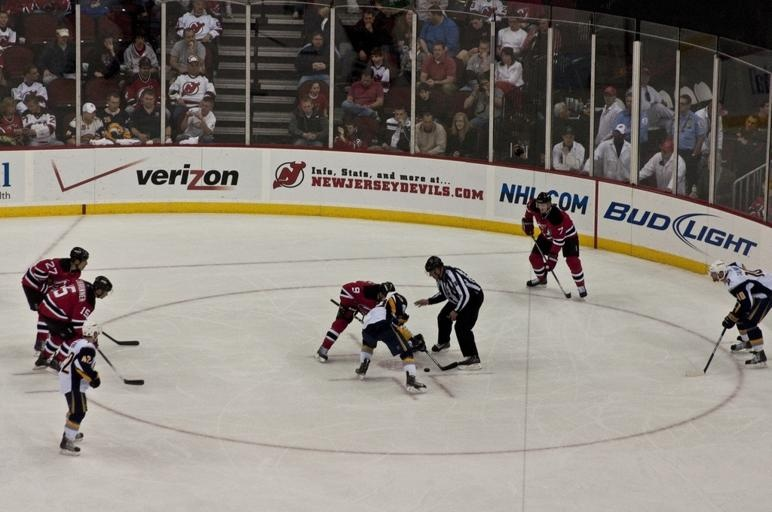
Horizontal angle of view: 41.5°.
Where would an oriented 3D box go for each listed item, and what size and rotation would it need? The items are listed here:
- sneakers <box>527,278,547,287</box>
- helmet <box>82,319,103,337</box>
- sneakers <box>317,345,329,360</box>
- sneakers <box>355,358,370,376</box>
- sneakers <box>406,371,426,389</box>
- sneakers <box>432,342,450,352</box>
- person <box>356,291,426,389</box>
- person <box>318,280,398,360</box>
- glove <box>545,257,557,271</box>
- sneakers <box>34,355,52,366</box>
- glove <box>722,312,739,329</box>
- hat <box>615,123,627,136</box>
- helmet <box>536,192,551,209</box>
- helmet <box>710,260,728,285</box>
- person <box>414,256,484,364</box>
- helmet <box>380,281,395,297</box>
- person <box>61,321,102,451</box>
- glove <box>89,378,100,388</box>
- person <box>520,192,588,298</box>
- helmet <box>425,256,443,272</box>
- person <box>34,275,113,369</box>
[{"bbox_3d":[2.473,0.426,16.858,0.357,0.134,0.123,4,10,-7],"label":"sneakers"},{"bbox_3d":[-3.348,0.834,11.684,0.166,0.193,0.211,12,7,12],"label":"helmet"},{"bbox_3d":[-0.863,1.328,13.844,0.123,0.195,0.211,8,14,16],"label":"sneakers"},{"bbox_3d":[-0.330,1.454,13.408,0.143,0.252,0.270,20,9,-10],"label":"sneakers"},{"bbox_3d":[0.424,1.616,13.093,0.319,0.276,0.150,-1,-1,5],"label":"sneakers"},{"bbox_3d":[0.748,1.268,14.174,0.275,0.103,0.094,-5,16,-26],"label":"sneakers"},{"bbox_3d":[0.082,1.071,13.157,1.007,1.254,0.405,9,15,22],"label":"person"},{"bbox_3d":[-0.387,0.791,13.685,0.805,0.366,1.207,51,5,15],"label":"person"},{"bbox_3d":[2.696,0.117,16.748,0.185,0.212,0.086,17,13,-16],"label":"glove"},{"bbox_3d":[-4.513,1.398,13.405,0.119,0.178,0.188,16,-10,17],"label":"sneakers"},{"bbox_3d":[4.599,0.873,13.729,0.190,0.187,0.244,-16,-5,5],"label":"glove"},{"bbox_3d":[4.205,-2.306,18.248,0.189,0.131,0.315,24,11,39],"label":"hat"},{"bbox_3d":[2.522,-0.892,16.462,0.224,0.237,0.271,-1,8,19],"label":"helmet"},{"bbox_3d":[4.507,0.207,13.958,0.290,0.294,0.238,-2,10,13],"label":"helmet"},{"bbox_3d":[0.871,0.828,14.445,1.147,1.701,1.091,-7,16,-10],"label":"person"},{"bbox_3d":[0.018,0.432,13.351,0.163,0.186,0.188,3,47,4],"label":"helmet"},{"bbox_3d":[-3.499,1.531,11.633,0.439,1.470,0.419,0,14,-15],"label":"person"},{"bbox_3d":[-3.298,1.459,11.526,0.143,0.095,0.136,0,-1,4],"label":"glove"},{"bbox_3d":[2.857,-0.143,17.187,1.202,1.859,1.018,23,41,38],"label":"person"},{"bbox_3d":[0.650,0.108,13.713,0.247,0.194,0.184,-8,19,-20],"label":"helmet"},{"bbox_3d":[-4.065,0.811,13.140,0.928,1.326,0.636,12,23,-27],"label":"person"}]
